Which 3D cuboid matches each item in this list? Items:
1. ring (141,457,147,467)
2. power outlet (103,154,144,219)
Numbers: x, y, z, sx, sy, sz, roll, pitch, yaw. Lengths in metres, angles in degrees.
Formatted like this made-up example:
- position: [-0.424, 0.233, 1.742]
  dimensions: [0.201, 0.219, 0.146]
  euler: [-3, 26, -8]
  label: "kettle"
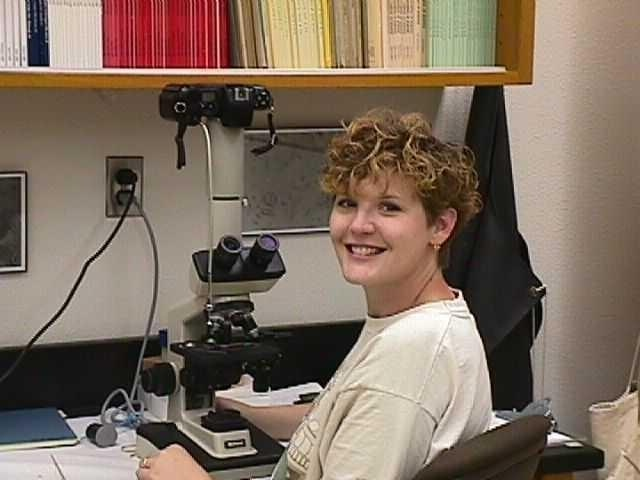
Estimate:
- position: [-0.449, 0.558, 1.696]
  dimensions: [0.016, 0.023, 0.009]
  euler: [5, 29, -5]
  label: "ring"
- position: [-0.712, -0.198, 2.432]
  dimensions: [0.133, 0.228, 0.021]
  euler: [-1, -7, -5]
  label: "power outlet"
